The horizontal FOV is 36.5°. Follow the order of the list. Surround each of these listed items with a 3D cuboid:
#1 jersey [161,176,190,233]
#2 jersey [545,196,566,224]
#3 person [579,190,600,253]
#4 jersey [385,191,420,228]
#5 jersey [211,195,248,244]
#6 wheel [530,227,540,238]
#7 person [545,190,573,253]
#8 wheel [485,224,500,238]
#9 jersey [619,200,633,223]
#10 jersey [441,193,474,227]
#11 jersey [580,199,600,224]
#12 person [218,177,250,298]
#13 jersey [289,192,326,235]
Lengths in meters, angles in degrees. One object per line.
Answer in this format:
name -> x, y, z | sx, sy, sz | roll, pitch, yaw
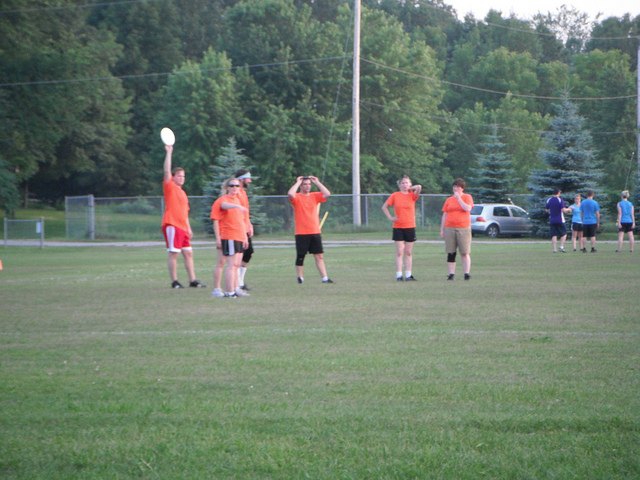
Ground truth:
jersey -> -4.042, -0.977, 27.001 | 0.699, 1.540, 0.528 | -2, 3, -8
jersey -> 8.464, -1.097, 35.071 | 0.572, 0.989, 0.688 | -1, 3, 8
person -> 9.666, -0.694, 35.035 | 0.649, 2.196, 1.091 | -1, 3, 13
jersey -> 2.340, -0.876, 27.858 | 0.804, 1.031, 0.454 | -1, 3, 9
jersey -> -2.421, -0.558, 25.627 | 0.939, 1.281, 0.487 | -2, 3, -11
wheel -> 10.198, -0.364, 46.288 | 0.263, 0.480, 0.886 | -2, 3, -8
person -> 8.577, -0.681, 35.139 | 1.132, 2.244, 0.823 | 2, 0, 12
wheel -> 8.196, -0.467, 46.745 | 0.656, 0.547, 0.213 | -10, 4, -13
jersey -> 10.968, -1.044, 34.962 | 0.438, 0.813, 0.505 | -1, 3, 12
jersey -> 3.956, -0.865, 27.729 | 0.669, 0.955, 1.092 | -2, 0, -45
jersey -> 9.696, -1.037, 35.094 | 0.606, 0.883, 0.551 | -1, 3, 11
person -> -2.531, -0.046, 25.677 | 1.264, 2.716, 1.001 | 0, 0, 7
jersey -> -0.416, -0.792, 27.439 | 1.169, 1.151, 0.749 | 1, -4, -21
